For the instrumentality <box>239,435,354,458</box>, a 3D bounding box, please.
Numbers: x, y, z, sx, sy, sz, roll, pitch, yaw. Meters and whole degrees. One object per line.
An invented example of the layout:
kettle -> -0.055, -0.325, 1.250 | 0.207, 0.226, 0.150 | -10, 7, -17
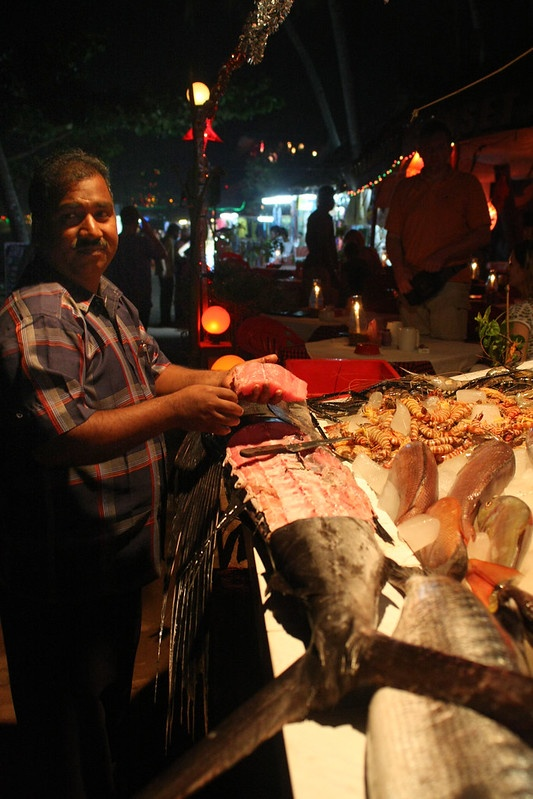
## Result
instrumentality -> 0.056, 0.101, 1.225 | 0.255, 0.016, 0.050 | -3, 12, -38

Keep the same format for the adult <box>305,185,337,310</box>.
adult -> 0.748, -2.088, 7.661 | 0.473, 1.564, 1.565 | 2, 11, 6

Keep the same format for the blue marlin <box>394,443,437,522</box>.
blue marlin -> 0.299, 0.166, 1.095 | 0.076, 0.040, 0.149 | -7, 47, 45

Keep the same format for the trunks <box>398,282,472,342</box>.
trunks -> 1.201, -0.638, 4.002 | 0.273, 0.393, 0.471 | -5, 13, -29

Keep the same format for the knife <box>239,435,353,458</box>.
knife -> 0.056, 0.101, 1.225 | 0.253, 0.016, 0.050 | -3, 12, -38
